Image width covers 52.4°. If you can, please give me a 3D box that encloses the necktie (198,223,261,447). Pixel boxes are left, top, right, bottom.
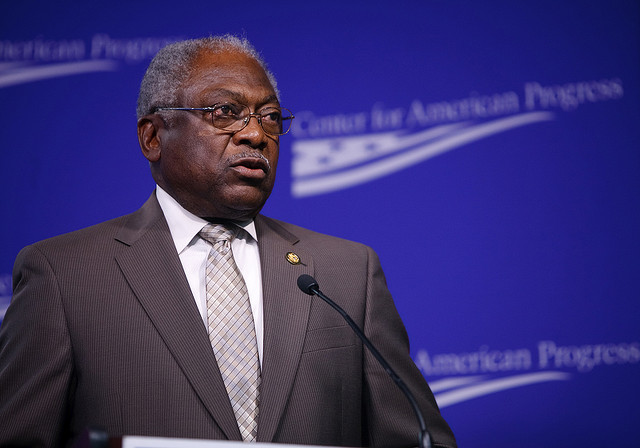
[{"bbox_3d":[-0.332,0.386,2.474,0.183,0.751,0.297,-9,-2,-6],"label":"necktie"}]
